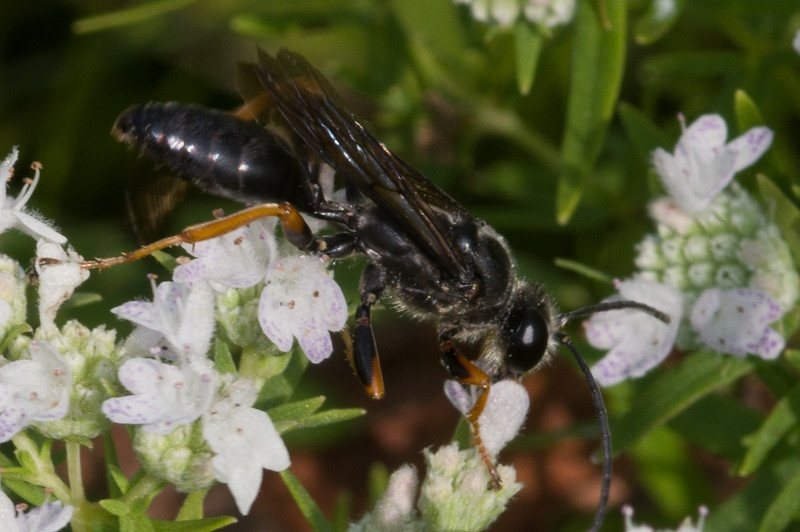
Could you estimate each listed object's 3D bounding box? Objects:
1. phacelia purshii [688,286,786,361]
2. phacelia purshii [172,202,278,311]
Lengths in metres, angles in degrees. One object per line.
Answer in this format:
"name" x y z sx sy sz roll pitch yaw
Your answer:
"phacelia purshii" 1.310 0.227 3.540 0.341 0.263 0.169 3 32 27
"phacelia purshii" -0.664 -0.040 3.549 0.286 0.093 0.294 -32 31 -26
